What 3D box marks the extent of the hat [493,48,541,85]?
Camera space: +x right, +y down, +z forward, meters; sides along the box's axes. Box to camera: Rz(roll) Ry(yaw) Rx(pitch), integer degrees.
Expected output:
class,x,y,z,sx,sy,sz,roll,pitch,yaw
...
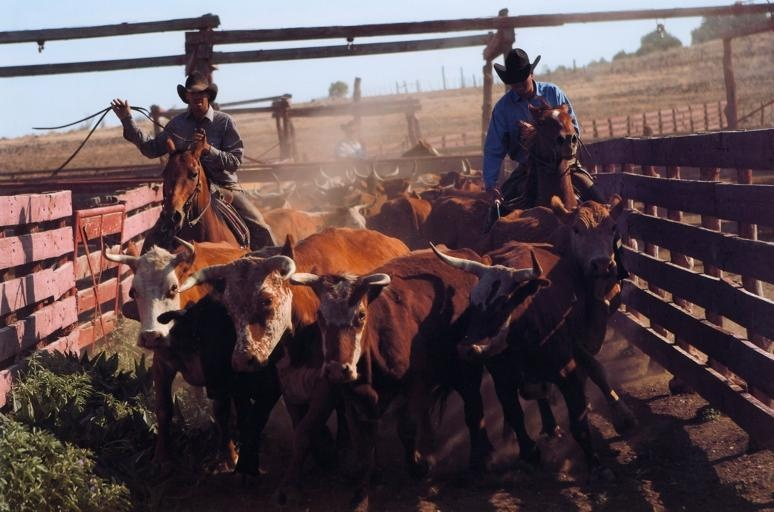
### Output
class,x,y,z,sx,sy,sz,roll,pitch,yaw
hat,1.634,-2.476,7.983,0.610,0.289,0.697,-1,7,41

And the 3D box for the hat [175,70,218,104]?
class,x,y,z,sx,sy,sz,roll,pitch,yaw
hat,-2.434,-2.161,8.035,0.374,0.375,0.535,-5,8,4

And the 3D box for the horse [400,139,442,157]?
class,x,y,z,sx,sy,sz,roll,pitch,yaw
horse,0.952,-2.942,17.462,0.791,0.391,0.858,-2,10,8
